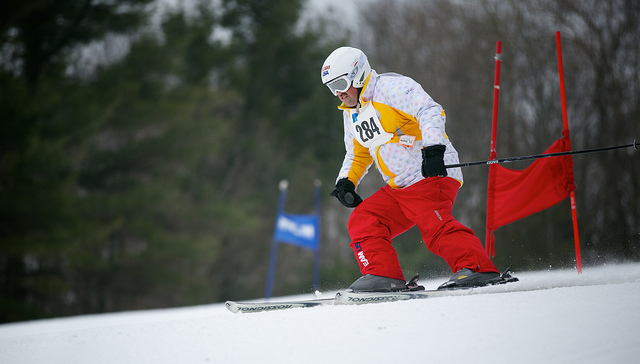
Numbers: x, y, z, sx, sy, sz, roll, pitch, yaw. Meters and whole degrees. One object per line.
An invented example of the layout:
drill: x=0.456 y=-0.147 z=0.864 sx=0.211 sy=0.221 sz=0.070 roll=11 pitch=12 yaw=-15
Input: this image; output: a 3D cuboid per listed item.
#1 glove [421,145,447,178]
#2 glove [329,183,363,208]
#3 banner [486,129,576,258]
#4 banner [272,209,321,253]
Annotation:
glove: x=1.252 y=-0.247 z=8.423 sx=0.258 sy=0.350 sz=0.082 roll=-1 pitch=0 yaw=4
glove: x=0.306 y=0.164 z=8.930 sx=0.332 sy=0.251 sz=0.157 roll=28 pitch=-20 yaw=11
banner: x=2.805 y=0.213 z=10.058 sx=1.498 sy=2.048 sz=0.293 roll=-5 pitch=10 yaw=13
banner: x=-0.394 y=0.770 z=11.887 sx=0.736 sy=0.610 sz=0.033 roll=15 pitch=-22 yaw=-20
